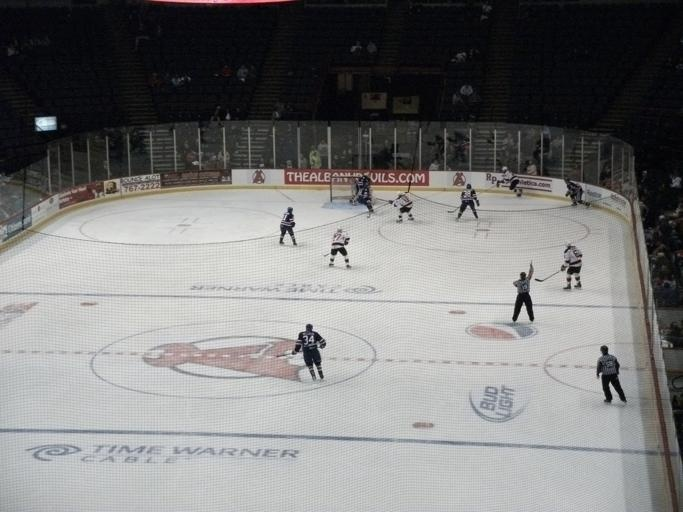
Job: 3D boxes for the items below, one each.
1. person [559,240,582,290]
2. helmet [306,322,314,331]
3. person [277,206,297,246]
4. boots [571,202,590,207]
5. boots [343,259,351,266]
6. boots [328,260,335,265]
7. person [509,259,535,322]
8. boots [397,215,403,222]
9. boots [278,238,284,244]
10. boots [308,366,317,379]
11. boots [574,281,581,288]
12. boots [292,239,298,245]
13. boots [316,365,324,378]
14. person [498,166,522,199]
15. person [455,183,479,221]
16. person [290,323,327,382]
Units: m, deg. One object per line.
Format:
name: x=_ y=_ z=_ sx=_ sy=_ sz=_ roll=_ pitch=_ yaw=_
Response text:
person: x=6.474 y=0.298 z=20.698 sx=0.571 sy=1.303 sz=1.638 roll=7 pitch=18 yaw=18
helmet: x=-0.664 y=1.455 z=15.112 sx=0.178 sy=0.179 sz=0.188 roll=0 pitch=-2 yaw=-1
person: x=-1.800 y=-1.087 z=24.727 sx=0.585 sy=1.400 sz=1.578 roll=0 pitch=17 yaw=-3
boots: x=9.464 y=-2.070 z=29.190 sx=0.724 sy=0.156 sz=0.348 roll=11 pitch=19 yaw=32
boots: x=0.143 y=0.228 z=22.608 sx=0.186 sy=0.293 sz=0.319 roll=-1 pitch=2 yaw=11
boots: x=-0.317 y=0.213 z=22.591 sx=0.140 sy=0.123 sz=0.139 roll=4 pitch=9 yaw=12
person: x=4.588 y=0.886 z=18.463 sx=0.583 sy=1.541 sz=0.982 roll=5 pitch=18 yaw=14
boots: x=2.165 y=-1.407 z=27.312 sx=0.188 sy=0.297 sz=0.515 roll=3 pitch=17 yaw=6
boots: x=-1.994 y=-0.465 z=24.630 sx=0.092 sy=0.163 sz=0.179 roll=17 pitch=18 yaw=42
boots: x=-0.636 y=2.493 z=15.697 sx=0.107 sy=0.294 sz=0.212 roll=-13 pitch=31 yaw=-3
boots: x=6.682 y=0.818 z=20.860 sx=0.108 sy=0.193 sz=0.219 roll=-10 pitch=13 yaw=-43
boots: x=-1.570 y=-0.443 z=24.654 sx=0.119 sy=0.187 sz=0.195 roll=-2 pitch=-16 yaw=-5
boots: x=-0.441 y=2.456 z=15.614 sx=0.160 sy=0.268 sz=0.118 roll=-18 pitch=5 yaw=-35
person: x=7.249 y=-3.266 z=31.836 sx=0.340 sy=1.187 sz=1.213 roll=-12 pitch=21 yaw=-35
person: x=4.786 y=-2.135 z=27.871 sx=0.840 sy=1.438 sz=2.491 roll=4 pitch=17 yaw=10
person: x=-0.690 y=1.998 z=15.462 sx=0.631 sy=1.391 sz=0.626 roll=0 pitch=18 yaw=-3
